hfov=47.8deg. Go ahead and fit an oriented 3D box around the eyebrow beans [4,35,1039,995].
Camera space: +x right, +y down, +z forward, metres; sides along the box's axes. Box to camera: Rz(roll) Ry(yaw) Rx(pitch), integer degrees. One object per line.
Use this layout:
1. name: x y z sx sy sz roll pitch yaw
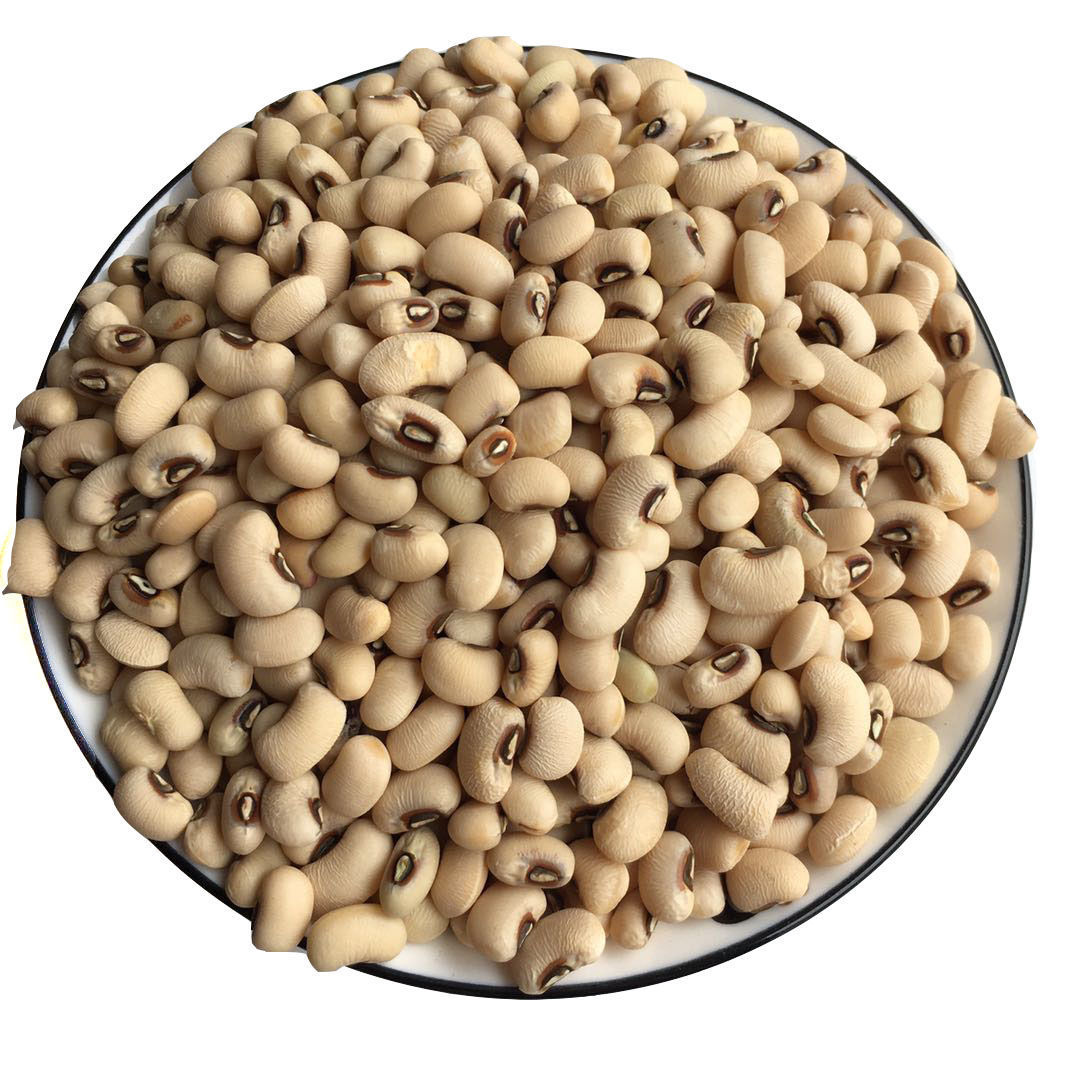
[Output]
1. eyebrow beans: -0.050 -0.030 2.110 1.850 1.513 0.525 -3 34 26
